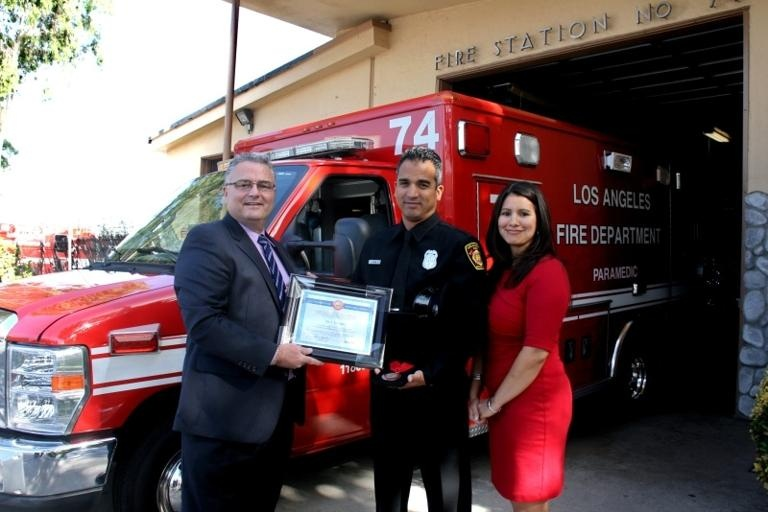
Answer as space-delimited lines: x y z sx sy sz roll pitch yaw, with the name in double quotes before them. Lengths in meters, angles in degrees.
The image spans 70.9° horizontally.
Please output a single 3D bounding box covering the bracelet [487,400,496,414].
"bracelet" 0.701 0.997 3.555 0.031 0.086 0.071 -3 -15 21
